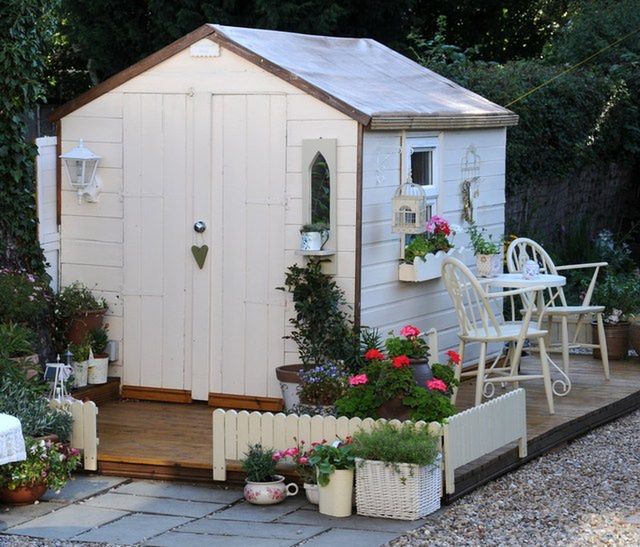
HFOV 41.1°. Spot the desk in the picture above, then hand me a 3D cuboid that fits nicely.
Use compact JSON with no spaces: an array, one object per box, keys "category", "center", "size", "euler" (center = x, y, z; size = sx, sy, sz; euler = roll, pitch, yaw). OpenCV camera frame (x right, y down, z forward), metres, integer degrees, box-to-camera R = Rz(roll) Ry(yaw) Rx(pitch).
[{"category":"desk","center":[1.800,0.428,7.411],"size":[0.680,1.261,0.597],"euler":[0,1,-13]}]

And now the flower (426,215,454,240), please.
[{"category":"flower","center":[1.026,-0.396,7.336],"size":[0.187,0.215,0.194],"euler":[2,5,24]}]

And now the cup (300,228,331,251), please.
[{"category":"cup","center":[-0.040,-0.244,6.521],"size":[0.200,0.165,0.137],"euler":[2,2,10]}]

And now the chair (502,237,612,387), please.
[{"category":"chair","center":[2.172,0.319,7.854],"size":[0.804,1.346,0.979],"euler":[-2,0,23]}]

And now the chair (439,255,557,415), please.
[{"category":"chair","center":[1.366,0.407,6.944],"size":[0.786,1.583,0.859],"euler":[1,0,-15]}]

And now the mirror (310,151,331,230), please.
[{"category":"mirror","center":[0.004,-0.661,6.573],"size":[0.182,0.799,0.012],"euler":[3,38,4]}]

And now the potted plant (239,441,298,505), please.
[{"category":"potted plant","center":[-0.337,1.245,5.342],"size":[0.331,0.370,0.298],"euler":[1,-2,12]}]

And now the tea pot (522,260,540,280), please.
[{"category":"tea pot","center":[1.803,-0.027,7.367],"size":[0.112,0.173,0.156],"euler":[0,-1,-2]}]

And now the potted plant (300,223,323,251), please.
[{"category":"potted plant","center":[-0.073,-0.274,6.555],"size":[0.190,0.208,0.142],"euler":[-2,2,13]}]

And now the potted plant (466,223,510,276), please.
[{"category":"potted plant","center":[1.528,-0.181,7.850],"size":[0.264,0.452,0.241],"euler":[-7,-9,43]}]
